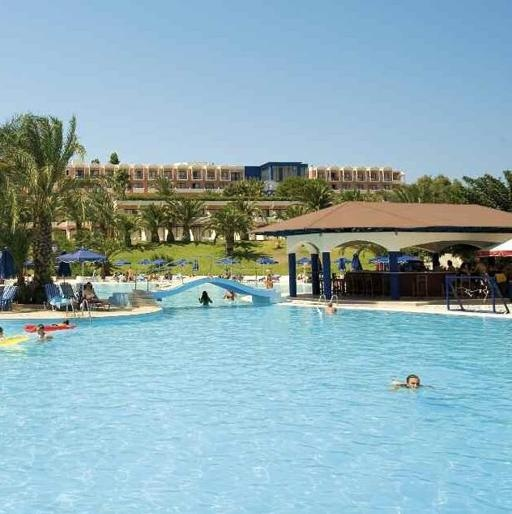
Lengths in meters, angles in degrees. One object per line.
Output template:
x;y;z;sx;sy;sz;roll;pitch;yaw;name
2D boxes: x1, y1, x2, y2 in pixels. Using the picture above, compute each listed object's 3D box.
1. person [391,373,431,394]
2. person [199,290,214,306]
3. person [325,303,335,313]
2.842;2.295;12.838;0.697;0.288;0.781;-3;0;11;person
-2.513;2.052;34.896;0.664;1.263;0.440;-2;6;2;person
2.697;1.868;25.432;0.371;0.381;0.841;-3;0;7;person
